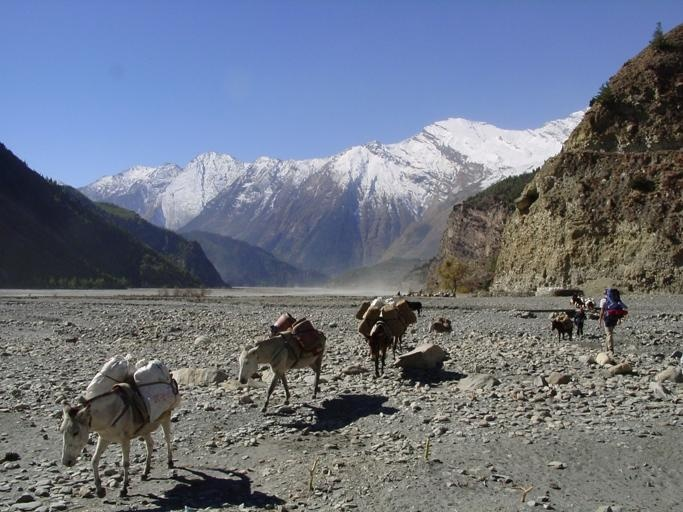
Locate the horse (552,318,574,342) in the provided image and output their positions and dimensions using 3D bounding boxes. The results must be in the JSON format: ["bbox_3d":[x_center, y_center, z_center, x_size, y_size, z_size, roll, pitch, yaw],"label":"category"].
[{"bbox_3d":[9.608,3.051,26.015,0.725,1.209,1.968,0,9,25],"label":"horse"}]

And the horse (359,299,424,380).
[{"bbox_3d":[1.686,3.039,22.197,1.564,2.456,3.069,0,8,21],"label":"horse"}]

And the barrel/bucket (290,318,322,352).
[{"bbox_3d":[-1.103,2.461,19.066,0.812,1.111,0.358,-19,-20,-45],"label":"barrel/bucket"}]
